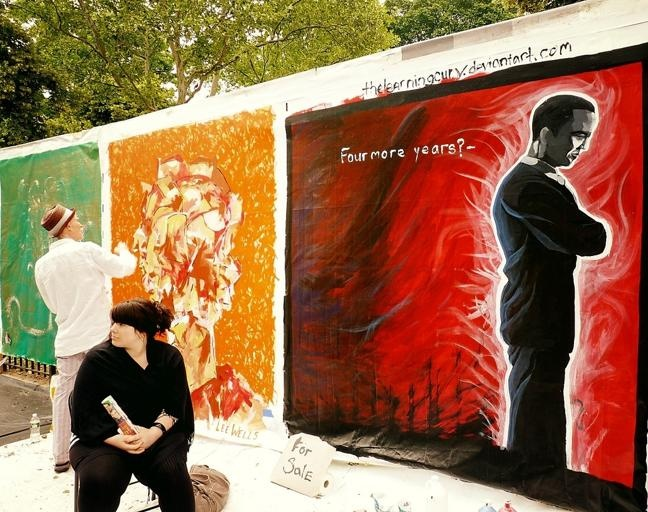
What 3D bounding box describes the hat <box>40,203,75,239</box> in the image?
[{"bbox_3d":[-2.401,-0.320,7.082,0.138,0.321,0.262,32,11,-36],"label":"hat"}]
